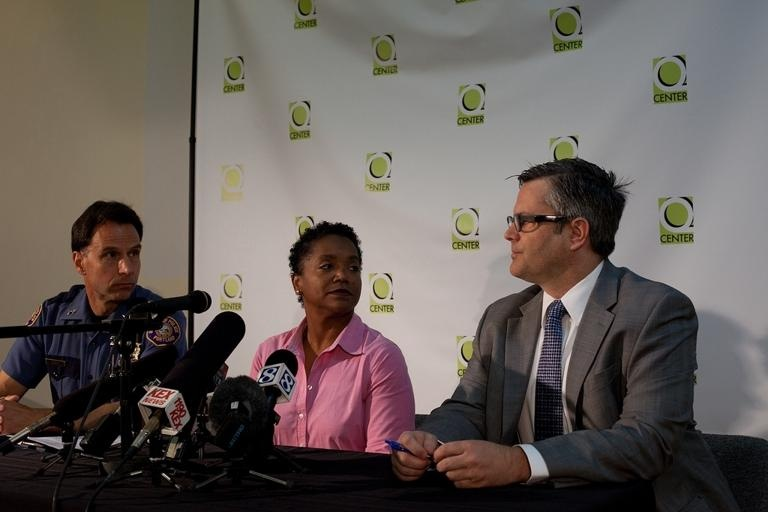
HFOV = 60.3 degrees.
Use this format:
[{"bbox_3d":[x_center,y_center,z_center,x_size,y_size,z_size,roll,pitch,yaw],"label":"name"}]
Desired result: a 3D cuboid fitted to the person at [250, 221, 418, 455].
[{"bbox_3d":[-0.316,0.531,3.502,0.817,1.426,0.742,-2,-16,15],"label":"person"}]
